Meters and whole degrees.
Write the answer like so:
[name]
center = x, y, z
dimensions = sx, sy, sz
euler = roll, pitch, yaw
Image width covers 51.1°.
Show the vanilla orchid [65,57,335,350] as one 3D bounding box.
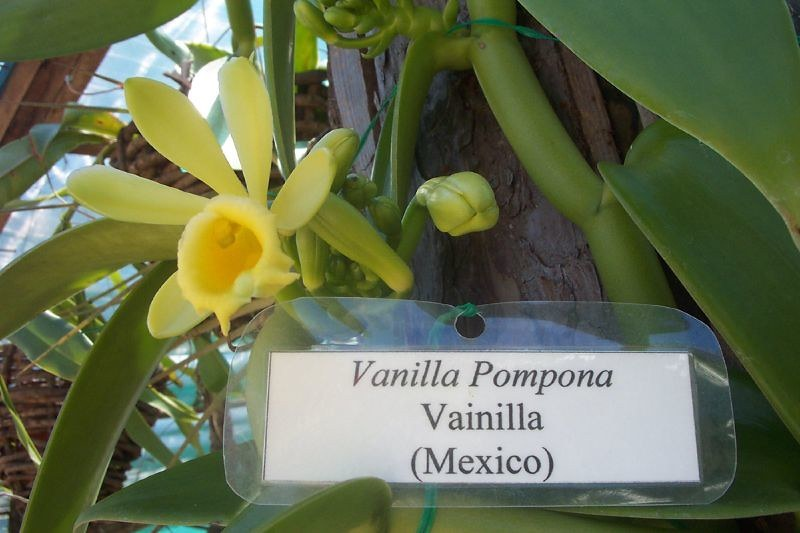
[vanilla orchid]
center = -0.166, -0.053, 0.742
dimensions = 0.210, 0.170, 0.201
euler = -41, 59, -16
